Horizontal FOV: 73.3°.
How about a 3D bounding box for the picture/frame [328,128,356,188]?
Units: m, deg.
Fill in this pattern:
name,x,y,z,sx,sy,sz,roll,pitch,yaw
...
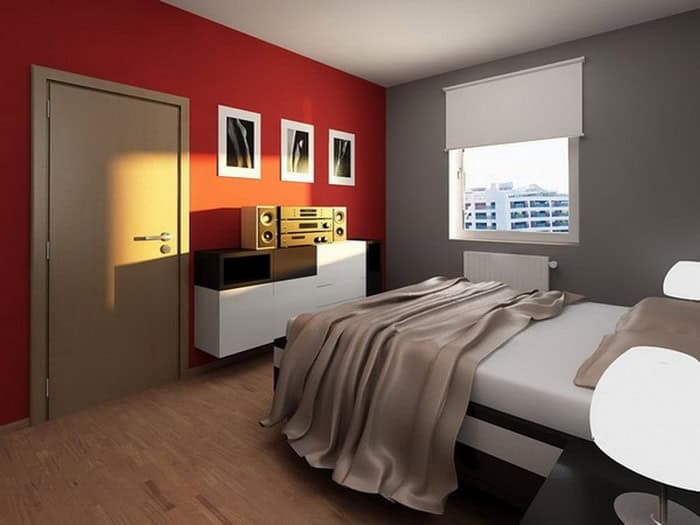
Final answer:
name,x,y,z,sx,sy,sz,roll,pitch,yaw
picture/frame,-0.097,-1.194,5.347,0.380,0.566,0.015,14,19,41
